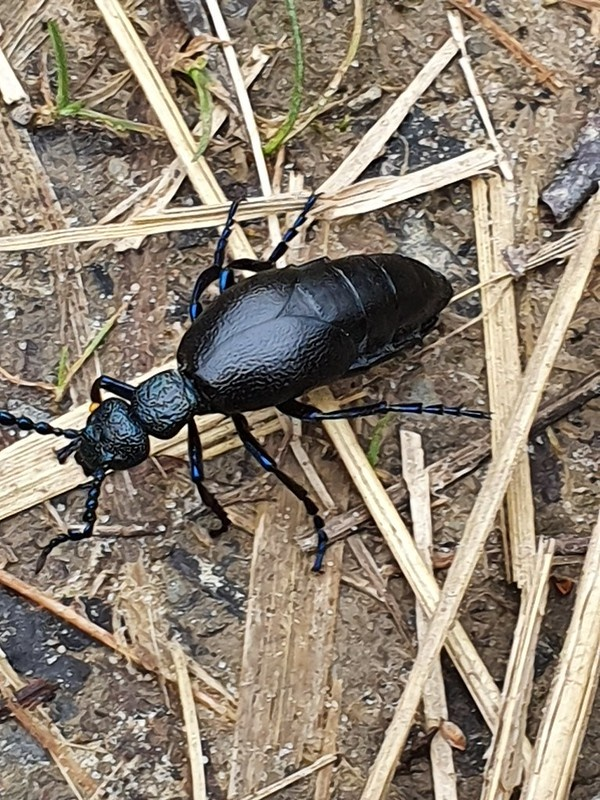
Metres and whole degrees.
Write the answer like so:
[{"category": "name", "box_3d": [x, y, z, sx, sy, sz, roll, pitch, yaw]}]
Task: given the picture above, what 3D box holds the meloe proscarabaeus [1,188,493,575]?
[{"category": "meloe proscarabaeus", "box_3d": [-0.145, -0.044, 3.986, 1.857, 0.997, 1.096, -28, 59, -11]}]
